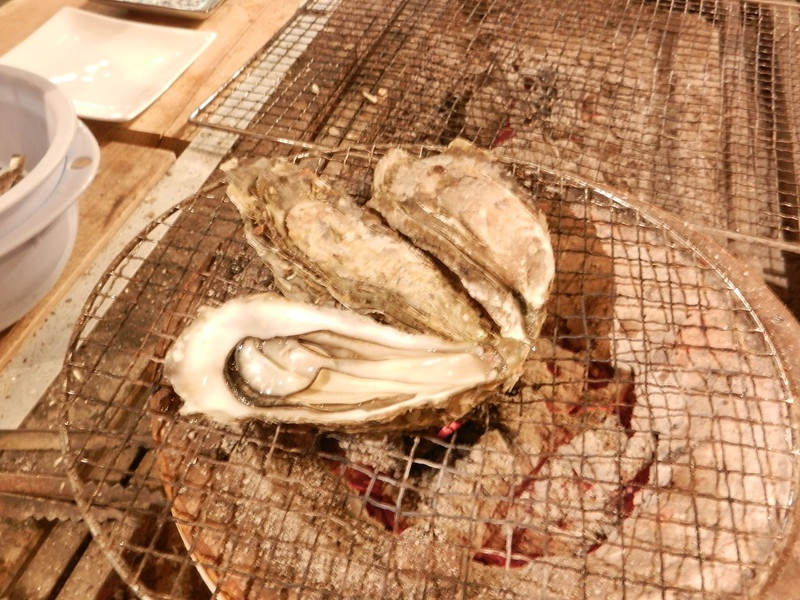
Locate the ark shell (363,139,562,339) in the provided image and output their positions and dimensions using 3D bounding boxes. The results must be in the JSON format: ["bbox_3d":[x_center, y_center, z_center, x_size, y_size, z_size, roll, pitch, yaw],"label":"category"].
[{"bbox_3d":[0.231,-0.228,2.201,0.703,0.166,0.341,43,66,13],"label":"ark shell"}]
